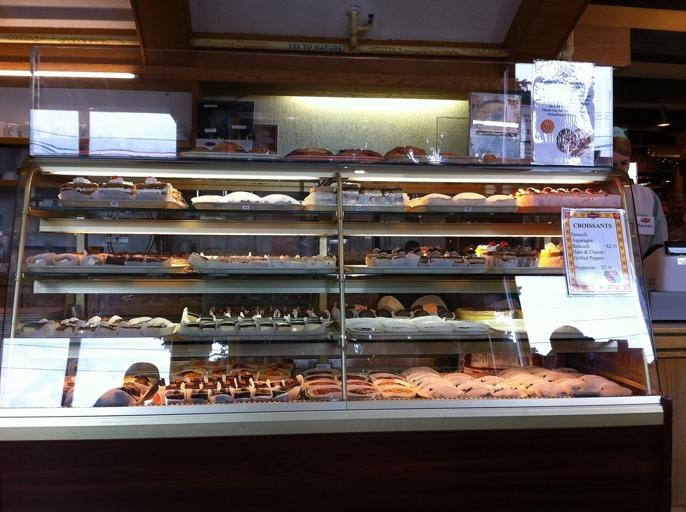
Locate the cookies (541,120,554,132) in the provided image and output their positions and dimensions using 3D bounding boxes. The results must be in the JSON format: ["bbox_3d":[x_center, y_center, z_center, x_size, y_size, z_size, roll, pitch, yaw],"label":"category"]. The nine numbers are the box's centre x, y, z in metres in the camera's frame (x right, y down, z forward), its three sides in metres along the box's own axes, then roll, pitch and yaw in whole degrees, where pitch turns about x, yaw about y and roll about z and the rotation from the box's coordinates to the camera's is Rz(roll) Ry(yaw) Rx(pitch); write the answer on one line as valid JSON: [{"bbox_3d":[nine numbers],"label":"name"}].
[{"bbox_3d":[1.128,-0.715,3.714,0.071,0.074,0.020,-3,9,4],"label":"cookies"}]
